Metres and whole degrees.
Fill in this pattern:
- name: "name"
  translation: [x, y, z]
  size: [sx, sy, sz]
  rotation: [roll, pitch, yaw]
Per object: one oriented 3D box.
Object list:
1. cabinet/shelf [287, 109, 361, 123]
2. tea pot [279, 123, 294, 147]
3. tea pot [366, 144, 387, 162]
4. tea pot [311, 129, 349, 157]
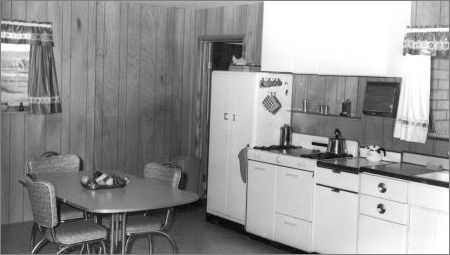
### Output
- name: "cabinet/shelf"
  translation: [1.649, -0.177, 5.931]
  size: [1.208, 0.177, 0.222]
  rotation: [9, 13, 33]
- name: "tea pot"
  translation: [1.080, 0.127, 6.156]
  size: [0.237, 0.352, 0.309]
  rotation: [3, 11, 6]
- name: "tea pot"
  translation: [2.276, 0.395, 5.311]
  size: [0.294, 0.225, 0.199]
  rotation: [1, 2, -7]
- name: "tea pot"
  translation: [1.796, 0.237, 5.821]
  size: [0.440, 0.517, 0.415]
  rotation: [2, -2, 0]
